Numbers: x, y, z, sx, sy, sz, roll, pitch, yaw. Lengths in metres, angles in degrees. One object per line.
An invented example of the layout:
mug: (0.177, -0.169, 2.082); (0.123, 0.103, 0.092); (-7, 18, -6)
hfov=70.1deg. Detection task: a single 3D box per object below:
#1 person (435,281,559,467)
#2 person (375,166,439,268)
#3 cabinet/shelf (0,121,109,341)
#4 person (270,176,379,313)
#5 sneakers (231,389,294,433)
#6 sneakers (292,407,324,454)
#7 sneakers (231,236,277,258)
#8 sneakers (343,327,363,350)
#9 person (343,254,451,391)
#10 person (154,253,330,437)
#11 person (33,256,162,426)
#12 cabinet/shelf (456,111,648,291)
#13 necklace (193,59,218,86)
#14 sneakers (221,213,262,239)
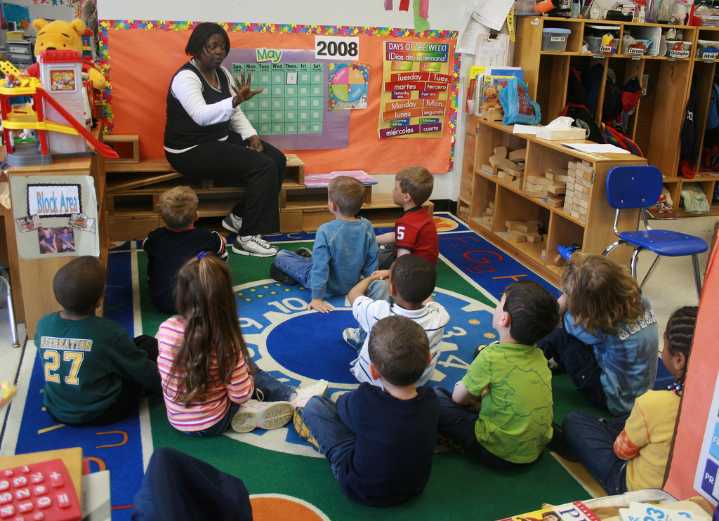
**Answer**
person: (0.649, 0.500, 2.463); (0.539, 0.795, 0.654); (-3, 5, -23)
person: (0.240, -0.283, 3.784); (0.616, 0.776, 0.472); (3, 13, 20)
cabinet/shelf: (-1.758, -0.171, 2.907); (0.393, 1.049, 1.106); (-6, 19, -17)
person: (-0.177, -0.269, 3.834); (0.729, 1.101, 0.915); (-11, 30, -25)
sneakers: (-0.477, 0.738, 2.542); (0.296, 0.142, 0.136); (-3, 8, -21)
sneakers: (-0.266, 0.792, 2.412); (0.069, 0.194, 0.143); (-37, 9, -8)
sneakers: (-0.885, -0.123, 4.406); (0.440, 0.220, 0.163); (4, 19, -5)
sneakers: (-0.040, 0.479, 3.168); (0.062, 0.075, 0.173); (-6, 20, -17)
person: (0.174, 0.325, 2.610); (0.419, 0.908, 0.608); (-2, 45, -8)
person: (-0.561, 0.369, 2.512); (0.438, 0.815, 0.758); (15, 16, 43)
person: (-1.283, 0.369, 2.623); (0.631, 0.828, 0.634); (1, 14, -25)
cabinet/shelf: (1.564, -0.480, 4.221); (0.517, 0.969, 1.473); (-4, 20, -16)
necklace: (-1.319, -1.614, 4.393); (0.152, 0.075, 0.209); (-20, 69, -50)
sneakers: (-1.098, -0.334, 4.662); (0.162, 0.205, 0.476); (32, 7, -12)
